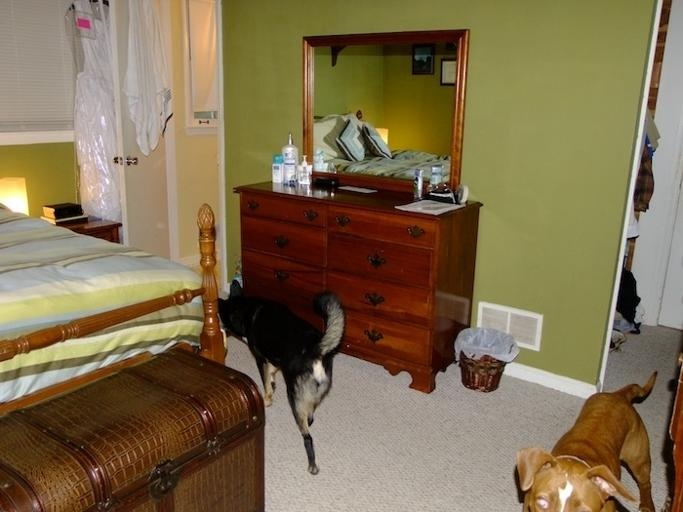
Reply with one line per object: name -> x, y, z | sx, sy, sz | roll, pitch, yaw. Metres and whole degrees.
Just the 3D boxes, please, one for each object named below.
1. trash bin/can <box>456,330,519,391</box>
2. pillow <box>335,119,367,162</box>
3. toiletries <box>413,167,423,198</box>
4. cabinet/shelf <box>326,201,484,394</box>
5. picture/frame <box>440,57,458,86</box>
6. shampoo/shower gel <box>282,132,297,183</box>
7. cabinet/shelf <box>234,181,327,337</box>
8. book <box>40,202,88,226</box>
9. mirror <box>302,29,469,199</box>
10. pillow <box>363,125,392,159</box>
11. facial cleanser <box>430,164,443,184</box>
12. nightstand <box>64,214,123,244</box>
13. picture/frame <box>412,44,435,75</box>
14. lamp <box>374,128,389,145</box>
trash bin/can -> 1.037, 0.710, 3.726 | 0.430, 0.318, 0.415 | 6, 17, 15
pillow -> 0.081, -0.922, 4.105 | 0.096, 0.292, 0.307 | -5, 42, -16
toiletries -> 0.570, -0.547, 3.799 | 0.072, 0.201, 0.183 | 3, 18, 8
cabinet/shelf -> 0.423, 0.257, 3.554 | 0.985, 1.340, 0.686 | 12, 18, 37
picture/frame -> 0.770, -1.338, 3.660 | 0.167, 0.202, 0.026 | 13, 22, 35
shampoo/shower gel -> -0.434, -0.820, 4.255 | 0.127, 0.389, 0.357 | -1, 18, -5
cabinet/shelf -> -0.431, 0.013, 3.768 | 0.912, 1.238, 0.507 | 12, 19, 32
book -> -2.709, -0.409, 5.031 | 0.273, 0.135, 0.278 | 15, 18, 39
mirror -> 0.375, -1.107, 3.889 | 1.252, 1.260, 0.060 | 9, 19, 28
pillow -> 0.266, -0.890, 3.986 | 0.077, 0.257, 0.260 | -29, 4, -26
facial cleanser -> 0.710, -0.628, 3.830 | 0.098, 0.194, 0.100 | 13, 23, 34
nightstand -> -2.245, -0.251, 4.581 | 0.255, 0.265, 0.257 | 19, 25, 32
picture/frame -> 0.601, -1.450, 3.730 | 0.208, 0.294, 0.019 | 4, 11, 22
lamp -> 0.311, -0.947, 4.002 | 0.103, 0.126, 0.107 | -6, 23, 6
